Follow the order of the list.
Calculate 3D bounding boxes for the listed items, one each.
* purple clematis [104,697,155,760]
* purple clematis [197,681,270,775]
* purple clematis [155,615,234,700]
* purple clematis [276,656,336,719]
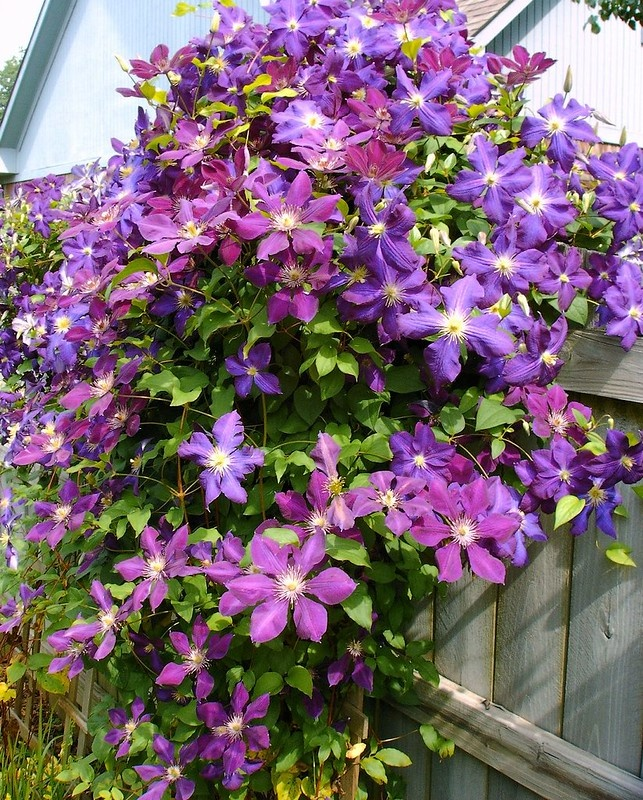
[{"bbox_3d":[-0.339,0.573,1.306,0.096,0.082,0.026,0,-54,28],"label":"purple clematis"},{"bbox_3d":[-0.133,0.486,1.116,0.138,0.129,0.038,9,22,-34],"label":"purple clematis"},{"bbox_3d":[-0.185,0.393,1.133,0.144,0.133,0.040,-18,-10,14],"label":"purple clematis"},{"bbox_3d":[-0.007,0.486,1.257,0.087,0.026,0.080,18,13,6],"label":"purple clematis"}]
